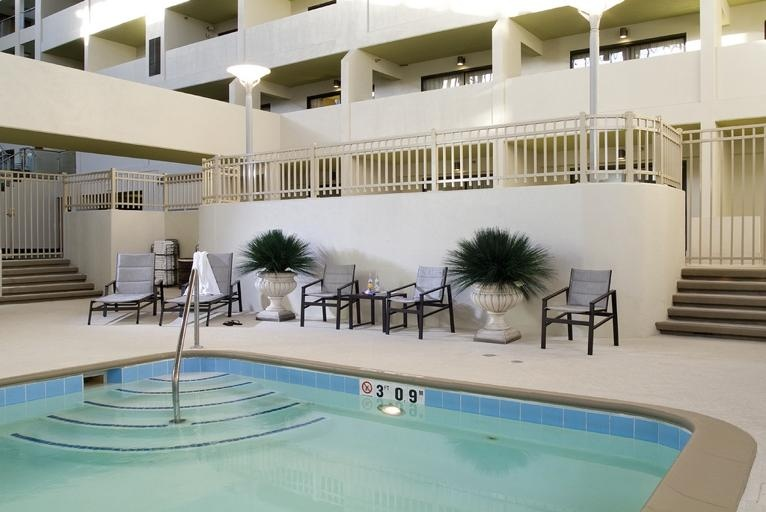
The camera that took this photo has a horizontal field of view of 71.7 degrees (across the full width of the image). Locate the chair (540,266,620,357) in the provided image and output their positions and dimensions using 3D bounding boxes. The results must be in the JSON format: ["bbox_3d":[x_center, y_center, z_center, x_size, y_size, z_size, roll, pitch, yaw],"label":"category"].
[{"bbox_3d":[3.356,0.914,8.967,0.930,1.352,1.083,1,1,43],"label":"chair"}]

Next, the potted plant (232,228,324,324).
[{"bbox_3d":[-2.315,0.430,12.297,1.761,2.134,1.903,0,1,26],"label":"potted plant"}]

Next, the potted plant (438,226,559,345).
[{"bbox_3d":[2.216,0.395,10.035,1.818,2.222,2.006,0,2,28],"label":"potted plant"}]
